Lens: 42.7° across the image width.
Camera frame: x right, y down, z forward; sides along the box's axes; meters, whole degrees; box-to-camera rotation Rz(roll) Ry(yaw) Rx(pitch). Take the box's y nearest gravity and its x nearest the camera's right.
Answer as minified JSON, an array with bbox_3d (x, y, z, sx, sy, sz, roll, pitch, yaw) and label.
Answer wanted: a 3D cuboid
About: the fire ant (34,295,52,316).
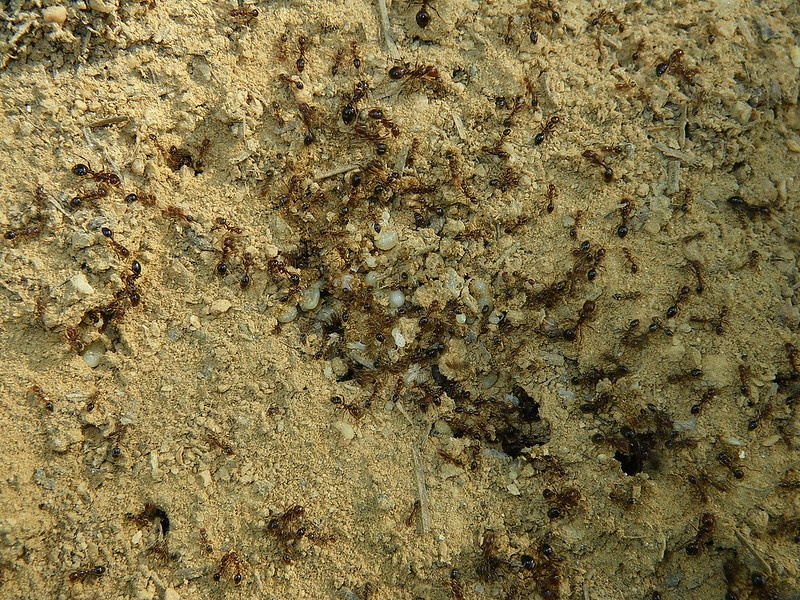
[{"bbox_3d":[-3.662,0.065,10.363,0.127,0.056,0.247,4,87,0],"label":"fire ant"}]

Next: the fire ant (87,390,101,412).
[{"bbox_3d":[-3.196,1.041,10.589,0.117,0.072,0.188,43,65,-17],"label":"fire ant"}]

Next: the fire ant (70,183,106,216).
[{"bbox_3d":[-3.209,-1.037,10.517,0.407,0.078,0.112,-24,69,-12],"label":"fire ant"}]
